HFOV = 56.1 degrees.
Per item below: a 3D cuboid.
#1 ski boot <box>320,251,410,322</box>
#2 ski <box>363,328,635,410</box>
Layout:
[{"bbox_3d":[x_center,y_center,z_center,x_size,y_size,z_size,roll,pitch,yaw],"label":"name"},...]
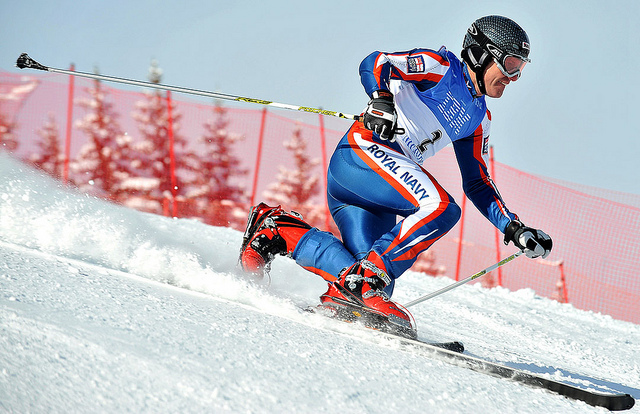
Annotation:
[{"bbox_3d":[0.359,0.549,3.953,0.614,0.427,0.218,12,-28,35],"label":"ski boot"},{"bbox_3d":[1.003,0.898,3.334,1.406,0.087,0.137,14,9,13],"label":"ski"}]
